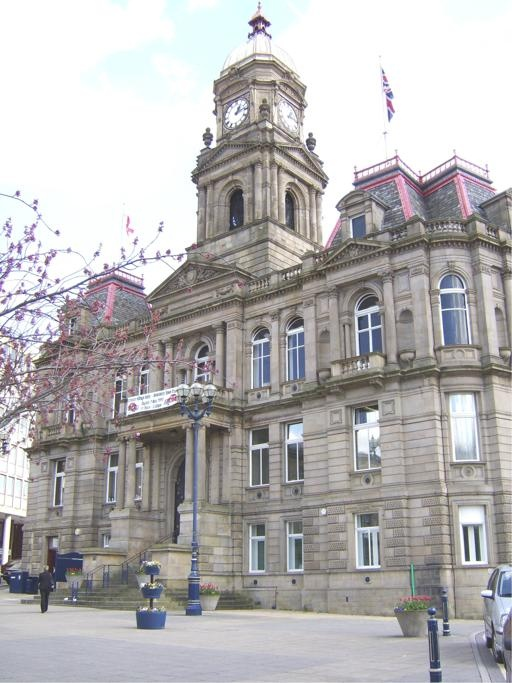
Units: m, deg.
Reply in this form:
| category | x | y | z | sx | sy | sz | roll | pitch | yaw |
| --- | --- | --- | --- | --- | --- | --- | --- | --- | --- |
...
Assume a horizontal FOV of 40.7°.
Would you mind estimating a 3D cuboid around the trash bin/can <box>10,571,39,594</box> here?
| category | x | y | z | sx | sy | sz | roll | pitch | yaw |
| --- | --- | --- | --- | --- | --- | --- | --- | --- | --- |
| trash bin/can | -13.948 | 14.425 | 41.293 | 0.835 | 1.266 | 2.941 | 11 | -21 | -33 |

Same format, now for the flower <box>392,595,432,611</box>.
| category | x | y | z | sx | sy | sz | roll | pitch | yaw |
| --- | --- | --- | --- | --- | --- | --- | --- | --- | --- |
| flower | 3.414 | 5.761 | 15.081 | 0.730 | 0.335 | 0.491 | -4 | -17 | 9 |

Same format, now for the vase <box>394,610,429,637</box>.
| category | x | y | z | sx | sy | sz | roll | pitch | yaw |
| --- | --- | --- | --- | --- | --- | --- | --- | --- | --- |
| vase | 3.373 | 6.088 | 14.914 | 0.638 | 0.555 | 0.545 | -5 | -18 | 13 |

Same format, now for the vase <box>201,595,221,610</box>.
| category | x | y | z | sx | sy | sz | roll | pitch | yaw |
| --- | --- | --- | --- | --- | --- | --- | --- | --- | --- |
| vase | -1.684 | 9.907 | 26.224 | 0.703 | 0.565 | 0.797 | -14 | -27 | 29 |
